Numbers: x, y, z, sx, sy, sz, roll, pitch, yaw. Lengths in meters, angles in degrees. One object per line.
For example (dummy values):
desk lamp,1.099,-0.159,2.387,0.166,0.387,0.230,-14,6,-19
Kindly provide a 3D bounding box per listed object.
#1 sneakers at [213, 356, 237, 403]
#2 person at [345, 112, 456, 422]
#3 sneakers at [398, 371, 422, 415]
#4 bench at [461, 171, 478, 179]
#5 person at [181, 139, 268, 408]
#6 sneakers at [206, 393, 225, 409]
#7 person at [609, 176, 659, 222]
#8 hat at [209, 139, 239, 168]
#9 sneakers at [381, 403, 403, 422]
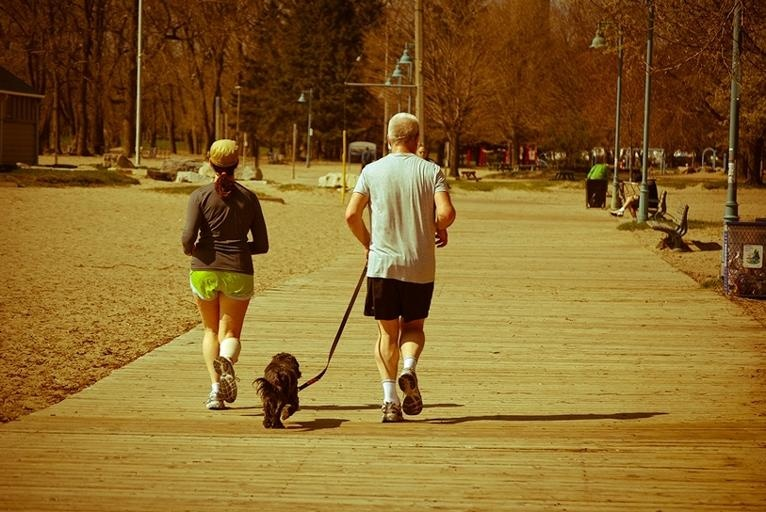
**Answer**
sneakers,-1.780,1.269,11.444,0.232,0.315,0.648,2,22,-20
person,0.181,0.349,11.017,1.082,2.850,0.651,0,11,2
sneakers,0.285,1.456,11.011,0.192,0.534,0.213,-6,8,4
bench,4.763,-4.502,56.377,0.696,0.240,0.833,5,6,19
person,-1.828,0.190,11.498,0.757,2.950,0.778,7,13,33
sneakers,-1.888,1.625,11.445,0.161,0.180,0.175,1,6,-1
person,6.921,-1.602,28.233,0.875,0.941,1.786,7,-9,12
hat,-1.765,-1.176,11.482,0.316,0.279,0.265,15,19,14
sneakers,0.092,1.687,11.017,0.135,0.179,0.257,-1,-27,5
